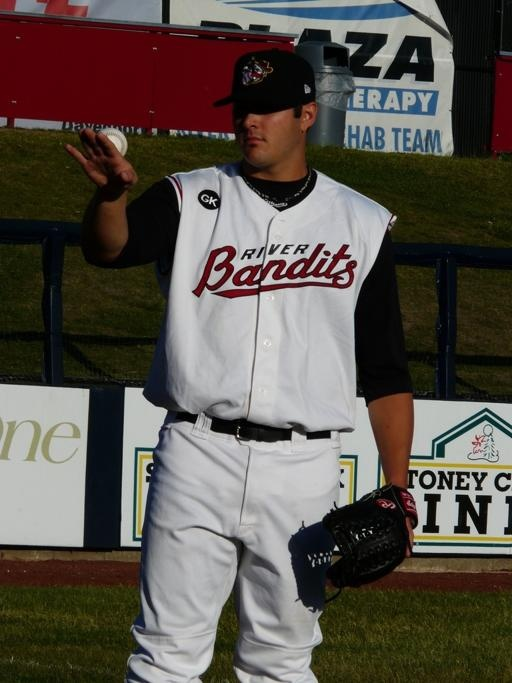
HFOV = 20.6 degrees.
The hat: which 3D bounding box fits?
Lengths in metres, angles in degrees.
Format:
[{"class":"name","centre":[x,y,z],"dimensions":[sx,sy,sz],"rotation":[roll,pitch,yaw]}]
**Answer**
[{"class":"hat","centre":[-0.015,-1.168,6.072],"dimensions":[0.411,0.300,0.562],"rotation":[-3,-4,-4]}]

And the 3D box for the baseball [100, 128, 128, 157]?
[{"class":"baseball","centre":[-0.592,-0.801,5.797],"dimensions":[0.043,0.119,0.108],"rotation":[-29,15,10]}]

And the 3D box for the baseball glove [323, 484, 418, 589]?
[{"class":"baseball glove","centre":[0.459,0.843,6.038],"dimensions":[0.289,0.398,0.176],"rotation":[26,20,-38]}]
